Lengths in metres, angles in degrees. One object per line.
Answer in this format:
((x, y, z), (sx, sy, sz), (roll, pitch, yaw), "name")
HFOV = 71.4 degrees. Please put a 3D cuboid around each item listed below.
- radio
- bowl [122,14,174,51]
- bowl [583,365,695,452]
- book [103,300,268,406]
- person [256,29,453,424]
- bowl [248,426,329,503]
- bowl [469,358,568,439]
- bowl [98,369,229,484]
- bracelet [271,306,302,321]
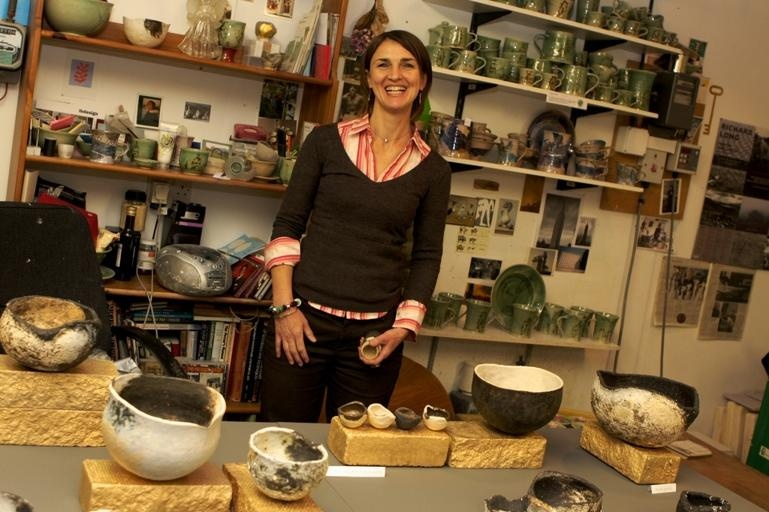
((-0.944, 0.062, 2.646), (0.405, 0.212, 0.318), (11, 6, 36), "radio")
((-1.088, -1.011, 2.412), (0.168, 0.100, 0.168), (3, 8, 0), "bowl")
((0.811, 0.487, 1.688), (0.326, 0.181, 0.274), (4, 1, 43), "bowl")
((-0.834, 0.374, 2.222), (0.590, 0.525, 0.187), (2, 8, -7), "book")
((-0.085, -0.099, 2.030), (0.692, 1.520, 0.286), (8, 5, -11), "person")
((-0.220, 0.484, 1.225), (0.176, 0.122, 0.188), (8, 2, 0), "bowl")
((0.382, 0.451, 1.674), (0.297, 0.184, 0.275), (6, 4, 0), "bowl")
((-0.496, 0.384, 1.168), (0.248, 0.187, 0.258), (16, 3, -1), "bowl")
((-0.371, 0.210, 1.973), (0.103, 0.062, 0.045), (9, 4, 16), "bracelet")
